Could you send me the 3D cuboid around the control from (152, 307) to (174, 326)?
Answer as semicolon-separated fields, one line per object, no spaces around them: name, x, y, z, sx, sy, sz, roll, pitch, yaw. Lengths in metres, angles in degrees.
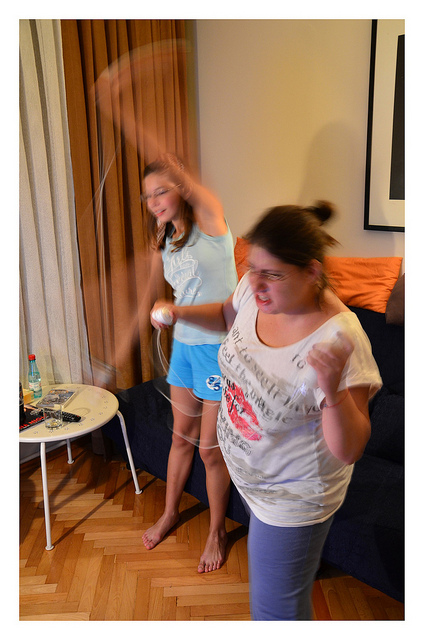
control;-0.048;-0.003;0.449;0.018;0.015;0.009;16;16;8

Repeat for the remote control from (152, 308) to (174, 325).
remote control;-0.047;-0.006;0.454;0.013;0.016;0.018;35;15;17
